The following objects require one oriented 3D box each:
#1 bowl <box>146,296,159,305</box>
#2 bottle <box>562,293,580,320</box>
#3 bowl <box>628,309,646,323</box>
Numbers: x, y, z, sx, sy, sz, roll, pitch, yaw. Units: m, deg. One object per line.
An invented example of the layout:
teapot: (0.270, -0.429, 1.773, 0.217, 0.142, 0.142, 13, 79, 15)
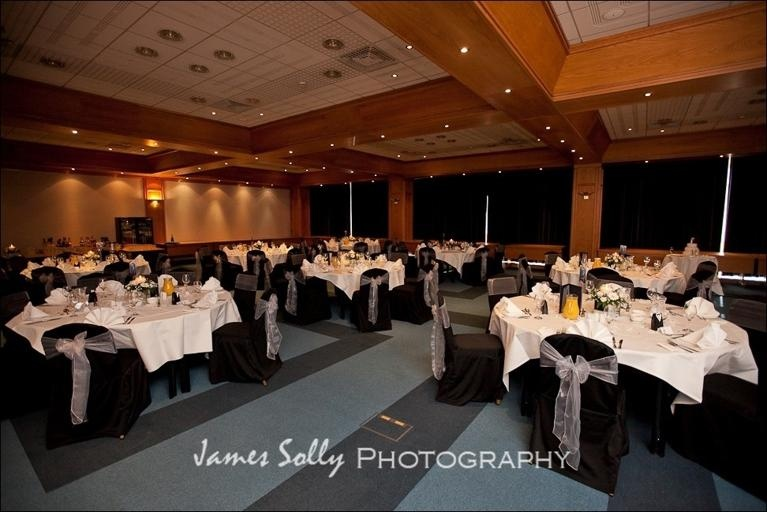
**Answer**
bowl: (-3.280, 0.624, 6.191, 0.113, 0.078, 0.115, 1, 6, 0)
bottle: (2.460, 0.664, 5.667, 0.280, 0.380, 0.283, 2, -3, 0)
bowl: (3.328, 0.779, 5.665, 0.166, 0.121, 0.182, 1, 11, 0)
